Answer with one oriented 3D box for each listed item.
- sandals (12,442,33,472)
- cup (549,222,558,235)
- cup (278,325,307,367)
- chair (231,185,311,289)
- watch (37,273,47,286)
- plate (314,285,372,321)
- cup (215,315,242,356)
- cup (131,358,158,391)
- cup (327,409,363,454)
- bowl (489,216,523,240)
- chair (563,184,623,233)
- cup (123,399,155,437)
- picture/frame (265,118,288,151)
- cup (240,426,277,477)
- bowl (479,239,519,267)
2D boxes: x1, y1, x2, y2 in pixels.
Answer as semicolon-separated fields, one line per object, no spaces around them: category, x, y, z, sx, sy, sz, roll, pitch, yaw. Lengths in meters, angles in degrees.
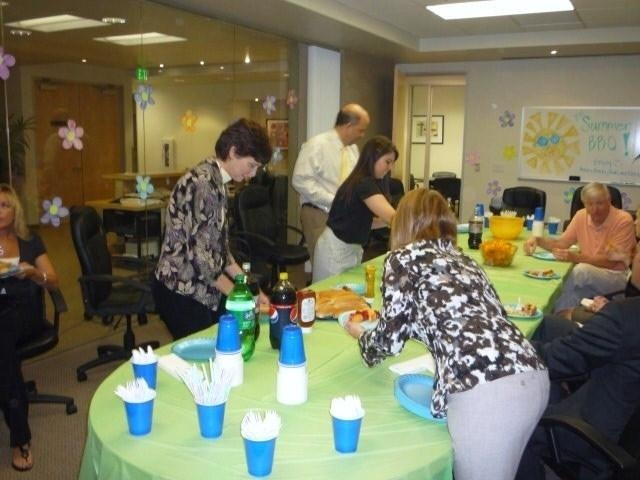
sandals;-1.628;1.193;2.813;0.065;0.081;0.194;3;-4;-36
cup;2.245;-0.111;4.935;0.091;0.103;0.093;0;13;0
cup;-0.095;0.377;1.876;0.115;0.137;0.119;0;12;0
chair;-0.479;0.028;5.024;0.678;1.104;0.731;-4;10;-12
watch;-1.700;0.245;3.138;0.051;0.073;0.022;7;-9;-40
plate;0.096;0.313;2.583;0.167;0.049;0.165;-5;17;-21
cup;-0.325;0.343;1.903;0.111;0.140;0.116;1;17;0
cup;-0.620;0.473;1.840;0.096;0.103;0.101;0;4;0
cup;0.090;0.632;1.706;0.132;0.117;0.131;1;-14;0
bowl;1.637;-0.131;4.512;0.221;0.156;0.227;1;5;0
chair;2.943;-0.406;5.534;0.602;0.784;0.598;0;2;26
cup;-0.595;0.587;1.692;0.110;0.117;0.112;1;10;0
picture/frame;-0.450;-1.147;5.623;0.013;0.369;0.491;7;13;29
cup;-0.182;0.648;1.620;0.112;0.129;0.118;1;8;0
bowl;1.285;0.074;3.686;0.193;0.138;0.201;2;4;0
